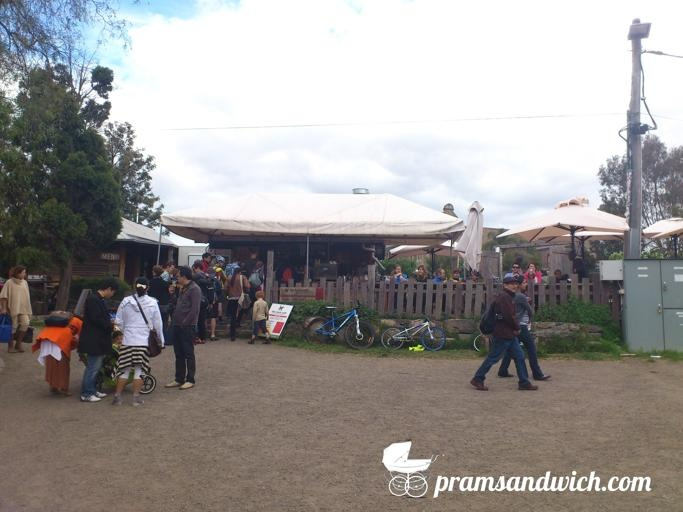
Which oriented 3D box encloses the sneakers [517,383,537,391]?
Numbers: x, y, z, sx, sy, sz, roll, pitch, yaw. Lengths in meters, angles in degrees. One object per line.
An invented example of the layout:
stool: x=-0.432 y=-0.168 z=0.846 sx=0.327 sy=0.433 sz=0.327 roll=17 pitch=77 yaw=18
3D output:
sneakers: x=3.463 y=2.441 z=11.950 sx=0.337 sy=0.158 sz=0.125 roll=-1 pitch=-3 yaw=8

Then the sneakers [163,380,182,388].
sneakers: x=-3.133 y=2.377 z=11.832 sx=0.378 sy=0.156 sz=0.131 roll=3 pitch=-11 yaw=-2

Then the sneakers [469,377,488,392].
sneakers: x=2.557 y=2.403 z=11.989 sx=0.159 sy=0.158 sz=0.349 roll=4 pitch=-6 yaw=-37

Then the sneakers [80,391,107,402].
sneakers: x=-4.224 y=2.399 z=10.928 sx=0.319 sy=0.140 sz=0.176 roll=-1 pitch=-1 yaw=-9

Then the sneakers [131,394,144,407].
sneakers: x=-3.390 y=2.386 z=10.699 sx=0.182 sy=0.175 sz=0.312 roll=-1 pitch=4 yaw=-18

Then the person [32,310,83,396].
person: x=-4.938 y=1.757 z=11.204 sx=0.781 sy=1.370 sz=0.825 roll=-1 pitch=4 yaw=-26

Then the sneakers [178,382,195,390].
sneakers: x=-2.783 y=2.357 z=11.619 sx=0.260 sy=0.101 sz=0.193 roll=0 pitch=3 yaw=-13

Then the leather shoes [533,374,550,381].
leather shoes: x=3.956 y=2.380 z=12.633 sx=0.350 sy=0.154 sz=0.120 roll=-7 pitch=-4 yaw=2

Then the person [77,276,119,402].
person: x=-4.184 y=1.436 z=11.034 sx=0.620 sy=2.053 sz=0.514 roll=-2 pitch=5 yaw=-31

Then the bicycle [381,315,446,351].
bicycle: x=1.839 y=2.036 z=16.606 sx=1.482 sy=0.890 sz=0.755 roll=-1 pitch=-8 yaw=9

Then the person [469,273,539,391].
person: x=3.082 y=1.596 z=12.168 sx=1.211 sy=1.842 sz=0.934 roll=1 pitch=4 yaw=12

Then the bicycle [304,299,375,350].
bicycle: x=0.033 y=1.940 z=17.250 sx=1.772 sy=1.131 sz=0.896 roll=0 pitch=-6 yaw=15

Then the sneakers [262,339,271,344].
sneakers: x=-1.991 y=2.293 z=17.169 sx=0.149 sy=0.251 sz=0.142 roll=1 pitch=1 yaw=-32

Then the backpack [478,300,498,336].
backpack: x=2.847 y=1.240 z=12.782 sx=0.470 sy=0.924 sz=0.682 roll=3 pitch=-4 yaw=11

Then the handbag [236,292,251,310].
handbag: x=-2.678 y=1.259 z=17.763 sx=0.338 sy=0.603 sz=0.558 roll=-3 pitch=-2 yaw=9

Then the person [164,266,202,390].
person: x=-2.917 y=1.313 z=11.904 sx=0.585 sy=2.195 sz=0.941 roll=0 pitch=4 yaw=-14

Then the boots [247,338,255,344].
boots: x=-2.385 y=2.250 z=17.033 sx=0.218 sy=0.160 sz=0.090 roll=10 pitch=3 yaw=38

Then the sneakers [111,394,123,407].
sneakers: x=-3.736 y=2.416 z=10.686 sx=0.106 sy=0.143 sz=0.320 roll=4 pitch=-16 yaw=-22

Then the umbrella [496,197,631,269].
umbrella: x=6.261 y=-0.757 z=18.052 sx=2.725 sy=1.710 sz=3.107 roll=1 pitch=3 yaw=3

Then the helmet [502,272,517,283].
helmet: x=3.402 y=0.452 z=12.974 sx=0.251 sy=0.133 sz=0.357 roll=1 pitch=3 yaw=14

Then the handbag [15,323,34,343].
handbag: x=-7.768 y=2.005 z=15.968 sx=0.367 sy=0.511 sz=0.507 roll=1 pitch=21 yaw=-3
